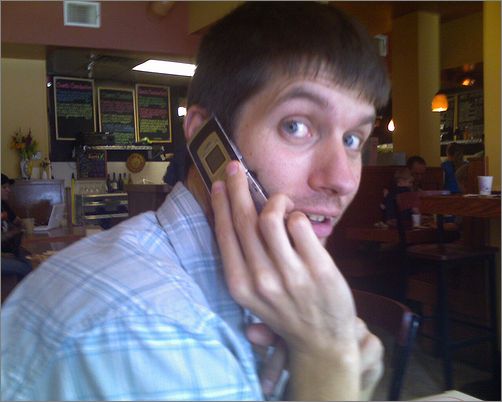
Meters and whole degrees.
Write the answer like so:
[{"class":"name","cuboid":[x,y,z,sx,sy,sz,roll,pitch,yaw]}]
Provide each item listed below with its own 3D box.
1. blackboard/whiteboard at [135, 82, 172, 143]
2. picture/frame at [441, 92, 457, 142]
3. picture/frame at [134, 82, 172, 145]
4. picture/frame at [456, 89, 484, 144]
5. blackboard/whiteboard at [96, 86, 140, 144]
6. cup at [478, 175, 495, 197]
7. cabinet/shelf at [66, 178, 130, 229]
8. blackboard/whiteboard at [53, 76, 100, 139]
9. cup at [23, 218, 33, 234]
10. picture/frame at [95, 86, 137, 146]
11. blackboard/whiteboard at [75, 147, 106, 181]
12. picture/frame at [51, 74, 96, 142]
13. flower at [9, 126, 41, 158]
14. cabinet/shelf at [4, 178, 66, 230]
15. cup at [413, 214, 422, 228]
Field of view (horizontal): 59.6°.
[{"class":"blackboard/whiteboard","cuboid":[-1.954,-1.730,8.723,0.670,1.376,0.035,-1,-23,-16]},{"class":"picture/frame","cuboid":[3.825,-1.559,8.460,0.248,1.285,0.088,1,-34,25]},{"class":"picture/frame","cuboid":[-1.964,-1.748,8.731,0.682,0.029,1.349,-3,-46,-15]},{"class":"picture/frame","cuboid":[4.037,-1.576,8.085,0.490,0.967,0.105,0,39,34]},{"class":"blackboard/whiteboard","cuboid":[-2.606,-1.593,8.404,0.697,0.037,1.416,-4,-37,-20]},{"class":"cup","cuboid":[1.592,-0.111,3.027,0.112,0.147,0.113,2,2,0]},{"class":"cabinet/shelf","cuboid":[-2.603,0.046,7.296,0.704,0.829,0.418,-1,5,-14]},{"class":"blackboard/whiteboard","cuboid":[-3.212,-1.696,7.972,0.673,0.024,1.228,-7,-44,-27]},{"class":"cup","cuboid":[-2.112,0.238,4.126,0.074,0.122,0.107,-12,-3,0]},{"class":"picture/frame","cuboid":[-2.558,-1.598,8.399,0.653,0.037,1.347,-6,-42,-19]},{"class":"blackboard/whiteboard","cuboid":[-3.024,-0.696,8.260,0.505,0.675,0.055,-1,-27,-24]},{"class":"picture/frame","cuboid":[-3.211,-1.681,7.925,0.680,1.276,0.027,-2,-21,-23]},{"class":"flower","cuboid":[-2.971,-0.868,5.749,0.328,0.429,0.326,0,-28,-37]},{"class":"cabinet/shelf","cuboid":[-2.534,0.040,5.065,0.439,0.508,0.164,-2,7,-21]},{"class":"cup","cuboid":[1.487,0.172,3.921,0.087,0.162,0.094,0,-4,0]}]
